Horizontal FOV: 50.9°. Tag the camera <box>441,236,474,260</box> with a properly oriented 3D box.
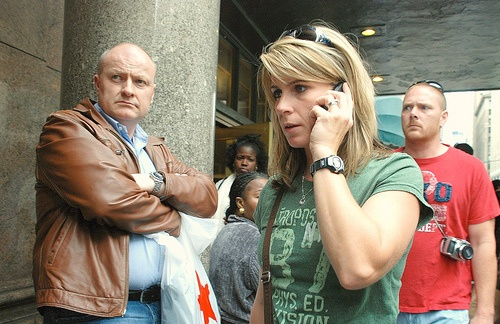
[{"bbox_3d":[1.822,0.743,4.677,0.276,0.198,0.293,1,3,25],"label":"camera"}]

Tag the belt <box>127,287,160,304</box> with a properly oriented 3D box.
[{"bbox_3d":[-0.806,1.032,4.076,0.143,0.052,0.164,5,-8,-42],"label":"belt"}]

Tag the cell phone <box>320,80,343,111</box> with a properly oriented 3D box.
[{"bbox_3d":[0.620,-0.490,3.664,0.094,0.075,0.327,-28,16,52],"label":"cell phone"}]
